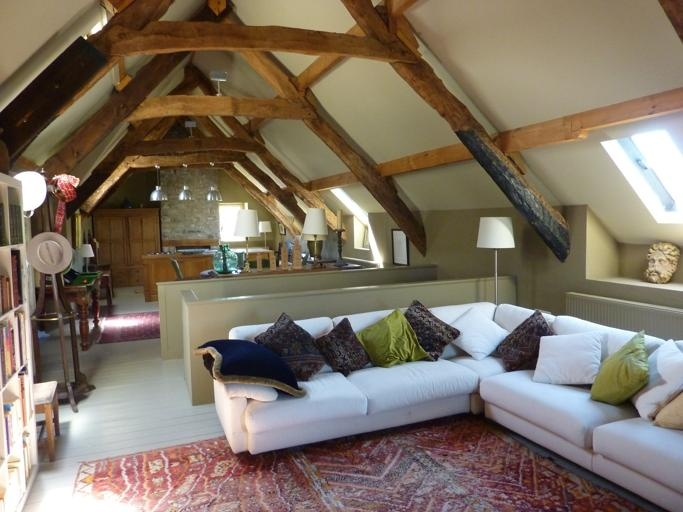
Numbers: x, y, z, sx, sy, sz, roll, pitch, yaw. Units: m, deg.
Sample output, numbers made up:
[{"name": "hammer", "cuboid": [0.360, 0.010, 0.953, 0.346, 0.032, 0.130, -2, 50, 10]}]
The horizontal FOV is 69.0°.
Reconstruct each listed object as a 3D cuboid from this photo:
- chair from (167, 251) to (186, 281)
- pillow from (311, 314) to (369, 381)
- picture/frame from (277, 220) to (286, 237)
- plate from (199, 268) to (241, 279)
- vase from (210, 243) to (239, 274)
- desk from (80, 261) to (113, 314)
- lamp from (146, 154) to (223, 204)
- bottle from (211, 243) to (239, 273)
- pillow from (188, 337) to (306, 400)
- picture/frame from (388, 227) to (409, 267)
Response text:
[{"name": "chair", "cuboid": [-3.044, 0.192, 9.115, 0.310, 0.268, 1.208, 10, -11, -12]}, {"name": "pillow", "cuboid": [-0.013, 0.859, 4.602, 0.429, 0.417, 0.129, -22, -9, -45]}, {"name": "picture/frame", "cuboid": [-1.610, -0.741, 13.232, 0.042, 0.312, 0.425, -3, 6, -24]}, {"name": "plate", "cuboid": [-1.562, 0.218, 6.403, 0.513, 0.060, 0.422, -3, 10, -13]}, {"name": "vase", "cuboid": [-1.592, 0.044, 6.652, 0.373, 0.480, 0.383, -2, -3, 27]}, {"name": "desk", "cuboid": [-4.173, 0.543, 8.457, 0.392, 0.565, 0.787, -2, 9, -9]}, {"name": "lamp", "cuboid": [-3.559, -1.623, 11.250, 1.354, 0.944, 2.633, -4, 10, -18]}, {"name": "bottle", "cuboid": [-1.580, 0.027, 6.679, 0.366, 0.475, 0.382, -1, 3, 0]}, {"name": "pillow", "cuboid": [-0.753, 0.940, 4.067, 0.902, 0.392, 0.460, -1, 9, -2]}, {"name": "picture/frame", "cuboid": [0.981, -0.177, 8.585, 0.045, 0.687, 0.572, -6, 11, -21]}]
